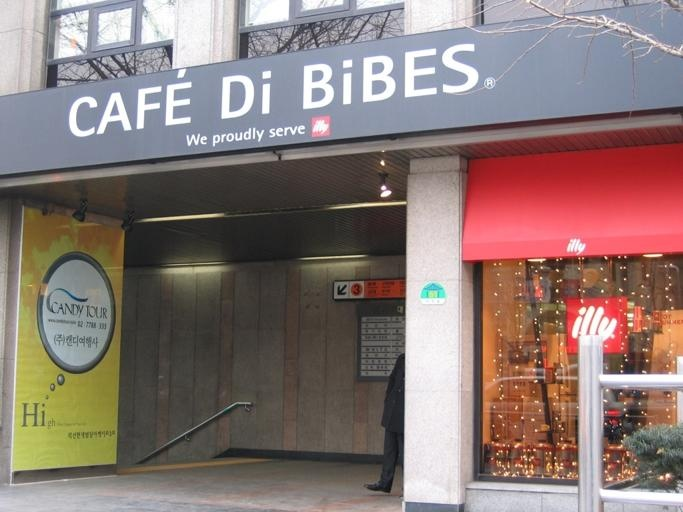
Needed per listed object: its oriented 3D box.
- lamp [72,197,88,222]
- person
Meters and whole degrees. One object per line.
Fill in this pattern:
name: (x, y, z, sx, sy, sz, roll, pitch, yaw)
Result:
lamp: (-3.815, -0.680, 11.859, 0.217, 0.388, 0.126, 19, 5, 11)
person: (0.667, 2.257, 10.861, 0.282, 1.866, 0.606, 3, -7, -19)
